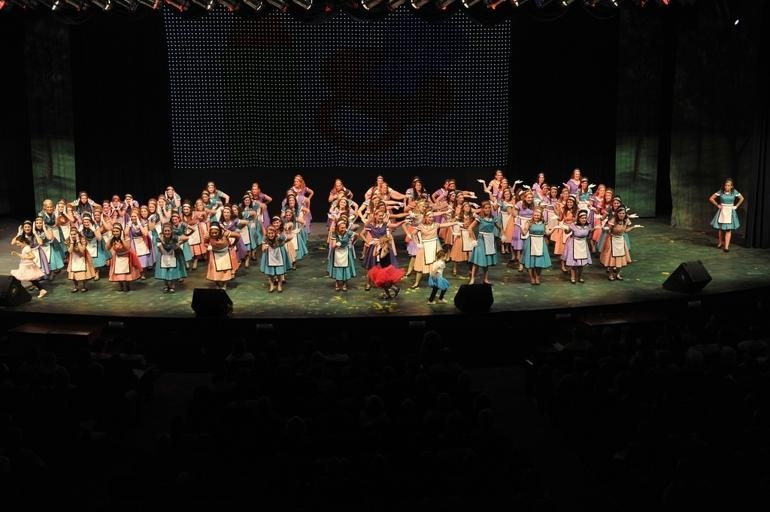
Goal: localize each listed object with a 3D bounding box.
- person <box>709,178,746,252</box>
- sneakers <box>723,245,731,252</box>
[{"bbox_3d":[7.284,-0.931,11.191,0.626,1.401,2.144,6,12,33],"label":"person"},{"bbox_3d":[6.858,-0.124,10.497,0.083,0.058,0.225,1,29,20],"label":"sneakers"}]
